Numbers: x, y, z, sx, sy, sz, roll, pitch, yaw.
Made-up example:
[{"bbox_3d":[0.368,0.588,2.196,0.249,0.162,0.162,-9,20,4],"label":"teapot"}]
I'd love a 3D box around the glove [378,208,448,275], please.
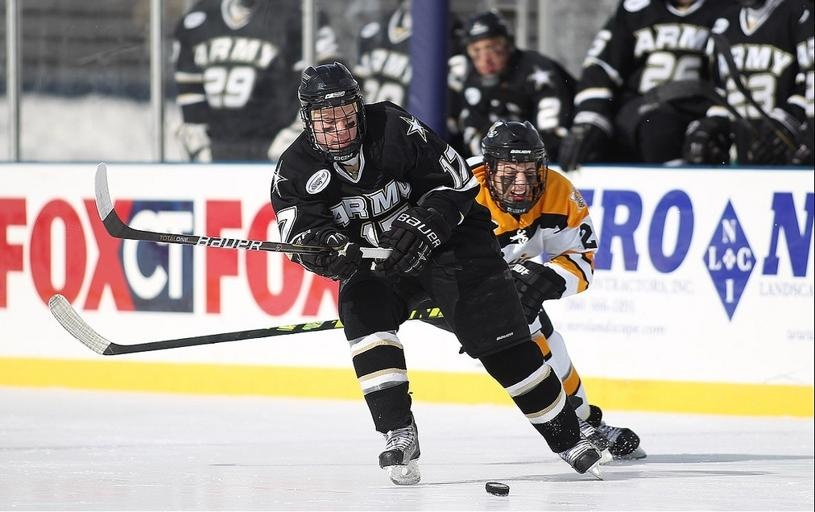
[{"bbox_3d":[0.024,-0.091,5.985,0.255,0.345,0.147,41,-8,40],"label":"glove"}]

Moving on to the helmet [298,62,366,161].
[{"bbox_3d":[-0.361,-0.713,6.069,0.321,0.492,0.209,1,5,3],"label":"helmet"}]

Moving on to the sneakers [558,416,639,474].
[{"bbox_3d":[0.957,0.988,6.358,0.312,0.097,0.291,-9,14,6],"label":"sneakers"}]

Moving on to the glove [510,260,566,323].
[{"bbox_3d":[0.644,0.185,6.267,0.315,0.292,0.118,18,-7,-8],"label":"glove"}]

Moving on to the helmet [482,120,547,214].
[{"bbox_3d":[0.519,-0.511,6.444,0.366,0.445,0.455,-8,37,-8],"label":"helmet"}]

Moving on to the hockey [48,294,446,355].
[{"bbox_3d":[-0.837,0.396,7.181,2.206,0.484,0.230,4,-12,-1],"label":"hockey"}]

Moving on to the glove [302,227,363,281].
[{"bbox_3d":[-0.370,-0.008,6.032,0.293,0.268,0.180,0,5,-2],"label":"glove"}]

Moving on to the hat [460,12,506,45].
[{"bbox_3d":[0.540,-1.626,8.856,0.210,0.228,0.250,-16,-18,-5],"label":"hat"}]
